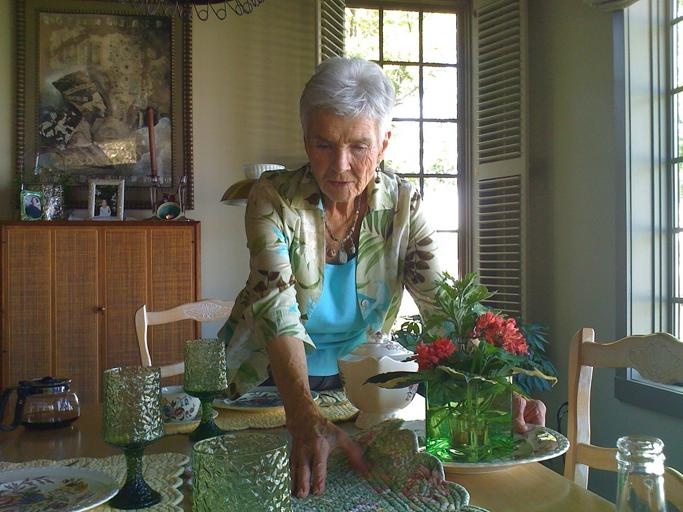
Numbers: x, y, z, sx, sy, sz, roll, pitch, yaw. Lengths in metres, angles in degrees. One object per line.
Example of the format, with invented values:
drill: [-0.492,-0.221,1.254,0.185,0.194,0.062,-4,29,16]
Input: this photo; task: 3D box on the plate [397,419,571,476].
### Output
plate: [0.302,0.398,1.202,0.305,0.038,0.316,-2,-2,30]

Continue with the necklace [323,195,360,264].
necklace: [-0.004,-0.061,1.711,0.102,0.012,0.227,12,32,-15]

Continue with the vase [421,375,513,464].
vase: [0.247,0.306,1.168,0.169,0.181,0.165,2,-6,-18]

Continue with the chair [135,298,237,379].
chair: [-0.552,0.332,2.270,0.241,0.366,0.261,-2,6,-40]

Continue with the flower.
flower: [0.284,0.201,1.279,0.347,0.383,0.338,0,0,-17]

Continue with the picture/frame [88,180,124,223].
picture/frame: [-1.403,-0.327,3.372,0.190,0.275,0.022,-3,29,-30]

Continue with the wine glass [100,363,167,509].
wine glass: [-0.388,0.328,1.062,0.102,0.236,0.160,-4,4,-19]

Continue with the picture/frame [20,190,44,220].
picture/frame: [-1.751,-0.282,3.209,0.157,0.236,0.030,-1,-4,-29]
